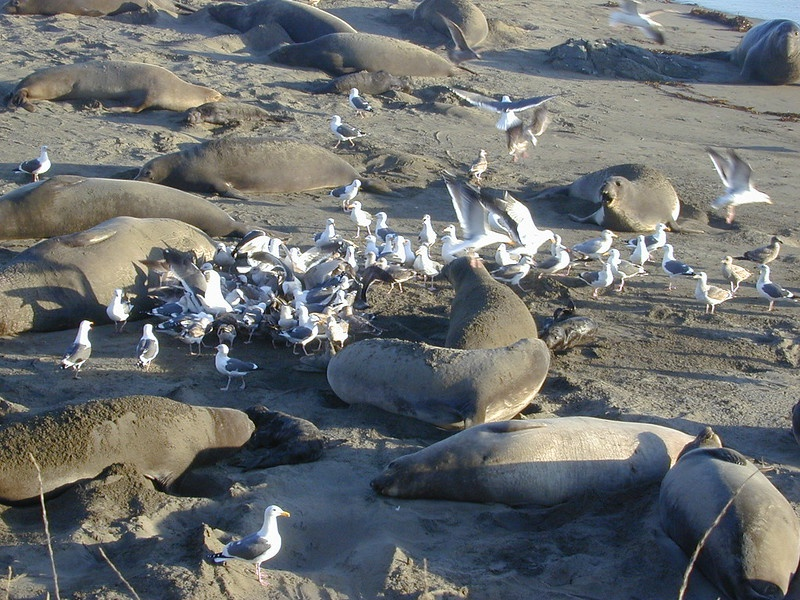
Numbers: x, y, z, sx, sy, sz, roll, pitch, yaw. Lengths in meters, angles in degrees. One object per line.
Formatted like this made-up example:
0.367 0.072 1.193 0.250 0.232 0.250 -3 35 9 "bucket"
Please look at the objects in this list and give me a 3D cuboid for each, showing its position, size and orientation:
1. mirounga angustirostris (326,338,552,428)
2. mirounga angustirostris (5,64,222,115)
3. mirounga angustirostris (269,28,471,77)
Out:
0.499 1.089 17.814 2.257 1.233 0.707 6 49 0 "mirounga angustirostris"
-5.126 -3.771 24.341 3.537 0.896 0.851 1 21 -22 "mirounga angustirostris"
-0.677 -5.011 28.138 3.705 0.845 1.013 2 19 -20 "mirounga angustirostris"
